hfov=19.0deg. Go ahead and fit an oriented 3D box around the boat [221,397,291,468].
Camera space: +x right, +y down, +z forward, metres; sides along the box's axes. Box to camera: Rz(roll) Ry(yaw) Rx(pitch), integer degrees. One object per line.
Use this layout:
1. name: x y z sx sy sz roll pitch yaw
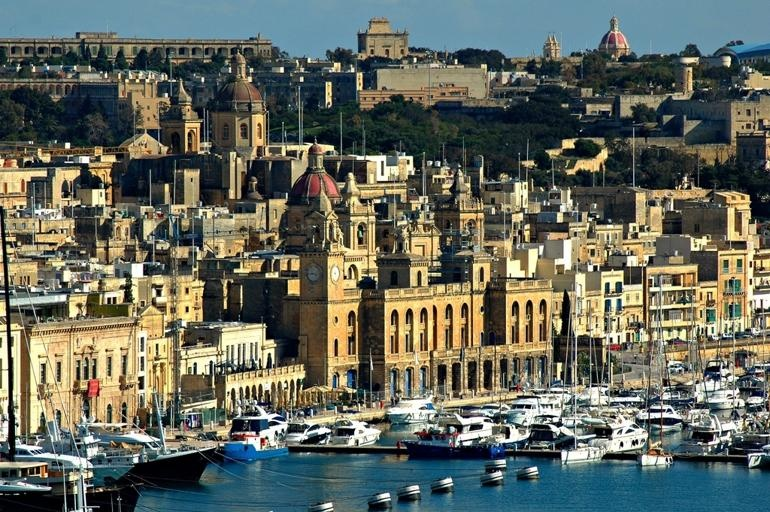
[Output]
1. boat: -7.038 9.729 125.401 1.594 2.961 4.479 -5 -7 32
